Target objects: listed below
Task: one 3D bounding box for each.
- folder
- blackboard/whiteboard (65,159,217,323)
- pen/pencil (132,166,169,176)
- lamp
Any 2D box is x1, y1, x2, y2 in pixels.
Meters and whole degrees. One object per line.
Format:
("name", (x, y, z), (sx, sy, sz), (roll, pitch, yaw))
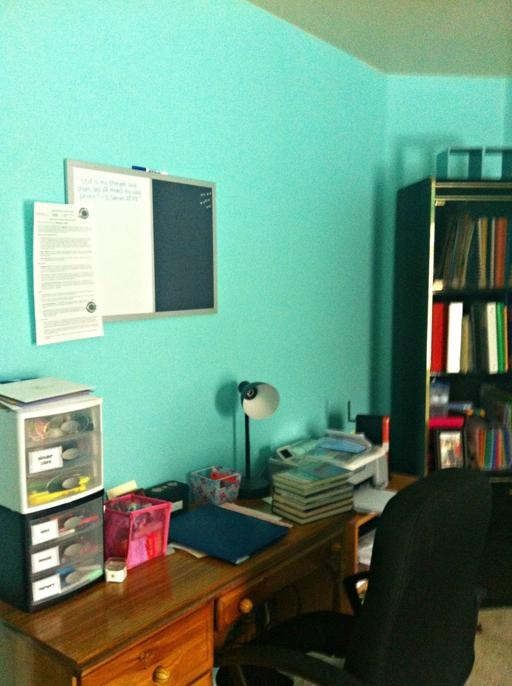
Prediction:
("folder", (-0.098, 0.548, 1.691), (0.409, 0.049, 0.368), (2, 3, 37))
("blackboard/whiteboard", (-0.339, -0.312, 1.879), (0.031, 0.462, 0.611), (6, 10, 36))
("pen/pencil", (-0.340, -0.546, 1.855), (0.023, 0.023, 0.161), (6, 10, 38))
("lamp", (-0.009, 0.351, 2.153), (0.160, 0.401, 0.272), (0, 0, -9))
